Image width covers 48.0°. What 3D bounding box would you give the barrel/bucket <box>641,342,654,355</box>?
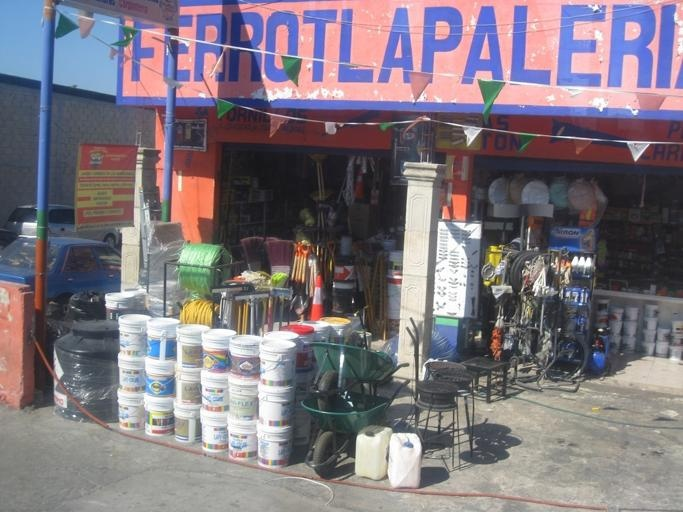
[{"bbox_3d":[5.872,1.784,14.785,0.213,0.233,0.208,1,0,0],"label":"barrel/bucket"}]

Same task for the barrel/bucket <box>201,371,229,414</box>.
[{"bbox_3d":[-1.740,1.898,10.655,0.462,0.510,0.509,2,-2,5],"label":"barrel/bucket"}]

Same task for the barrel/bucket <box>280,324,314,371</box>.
[{"bbox_3d":[-0.615,1.338,10.947,0.461,0.539,0.472,0,6,0],"label":"barrel/bucket"}]

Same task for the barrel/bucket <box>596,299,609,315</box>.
[{"bbox_3d":[4.894,0.972,14.530,0.199,0.241,0.230,1,-2,5],"label":"barrel/bucket"}]

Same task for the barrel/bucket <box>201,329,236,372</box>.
[{"bbox_3d":[-1.732,1.322,10.645,0.463,0.520,0.476,1,5,0],"label":"barrel/bucket"}]

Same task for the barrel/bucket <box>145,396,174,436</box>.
[{"bbox_3d":[-2.617,2.263,11.033,0.497,0.518,0.496,1,-1,0],"label":"barrel/bucket"}]

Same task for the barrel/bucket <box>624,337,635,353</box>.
[{"bbox_3d":[5.520,1.725,14.782,0.247,0.292,0.261,-1,0,0],"label":"barrel/bucket"}]

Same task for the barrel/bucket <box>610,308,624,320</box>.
[{"bbox_3d":[5.272,1.120,14.747,0.200,0.204,0.202,3,1,0],"label":"barrel/bucket"}]

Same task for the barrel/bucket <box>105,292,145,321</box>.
[{"bbox_3d":[-3.405,0.756,12.077,0.481,0.358,0.478,0,0,0],"label":"barrel/bucket"}]

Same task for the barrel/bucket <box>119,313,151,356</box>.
[{"bbox_3d":[-2.961,1.114,10.998,0.490,0.581,0.508,2,5,0],"label":"barrel/bucket"}]

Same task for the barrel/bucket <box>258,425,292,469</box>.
[{"bbox_3d":[-0.913,2.531,10.458,0.527,0.580,0.541,2,7,0],"label":"barrel/bucket"}]

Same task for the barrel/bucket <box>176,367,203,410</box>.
[{"bbox_3d":[-2.196,1.838,10.868,0.475,0.509,0.458,4,-4,0],"label":"barrel/bucket"}]

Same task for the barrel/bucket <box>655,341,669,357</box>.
[{"bbox_3d":[6.097,1.784,14.681,0.243,0.291,0.257,1,-2,0],"label":"barrel/bucket"}]

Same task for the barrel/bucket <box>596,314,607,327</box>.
[{"bbox_3d":[4.848,1.238,14.438,0.187,0.238,0.198,1,-3,0],"label":"barrel/bucket"}]

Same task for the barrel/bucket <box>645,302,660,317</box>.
[{"bbox_3d":[5.914,1.050,14.705,0.237,0.195,0.198,2,1,0],"label":"barrel/bucket"}]

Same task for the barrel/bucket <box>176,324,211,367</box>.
[{"bbox_3d":[-2.108,1.279,10.843,0.493,0.555,0.499,3,8,0],"label":"barrel/bucket"}]

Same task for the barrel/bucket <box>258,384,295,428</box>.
[{"bbox_3d":[-0.902,1.970,10.459,0.567,0.596,0.604,3,9,0],"label":"barrel/bucket"}]

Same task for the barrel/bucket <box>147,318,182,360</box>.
[{"bbox_3d":[-2.569,1.158,11.004,0.488,0.549,0.499,6,15,-2],"label":"barrel/bucket"}]

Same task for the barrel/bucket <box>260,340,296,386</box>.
[{"bbox_3d":[-0.838,1.431,10.200,0.486,0.528,0.525,1,5,0],"label":"barrel/bucket"}]

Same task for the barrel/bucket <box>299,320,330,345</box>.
[{"bbox_3d":[-0.356,1.126,11.419,0.274,0.317,0.286,2,1,0],"label":"barrel/bucket"}]

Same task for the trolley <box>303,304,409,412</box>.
[{"bbox_3d":[0.217,1.555,10.732,0.683,0.574,1.485,6,-6,30],"label":"trolley"}]

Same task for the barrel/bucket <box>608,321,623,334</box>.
[{"bbox_3d":[5.253,1.373,14.799,0.229,0.270,0.241,1,1,0],"label":"barrel/bucket"}]

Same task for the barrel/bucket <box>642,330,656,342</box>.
[{"bbox_3d":[5.879,1.539,14.761,0.197,0.207,0.207,1,-2,0],"label":"barrel/bucket"}]

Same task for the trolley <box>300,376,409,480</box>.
[{"bbox_3d":[0.143,2.377,10.515,0.754,0.776,1.562,-1,0,31],"label":"trolley"}]

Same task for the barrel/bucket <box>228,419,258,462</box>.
[{"bbox_3d":[-1.353,2.493,10.561,0.509,0.527,0.503,2,3,0],"label":"barrel/bucket"}]

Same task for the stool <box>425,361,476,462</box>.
[{"bbox_3d":[1.627,2.253,11.192,0.701,1.260,0.669,1,1,-4],"label":"stool"}]

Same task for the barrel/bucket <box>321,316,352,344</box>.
[{"bbox_3d":[-0.061,1.137,11.775,0.332,0.377,0.337,2,6,0],"label":"barrel/bucket"}]

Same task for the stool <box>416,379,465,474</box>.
[{"bbox_3d":[1.336,2.328,10.632,0.658,1.199,0.659,1,1,-5],"label":"stool"}]

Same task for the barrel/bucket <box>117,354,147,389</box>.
[{"bbox_3d":[-3.029,1.707,11.121,0.436,0.482,0.450,3,-1,0],"label":"barrel/bucket"}]

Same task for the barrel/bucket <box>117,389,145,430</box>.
[{"bbox_3d":[-3.018,2.217,11.125,0.467,0.525,0.488,0,-1,0],"label":"barrel/bucket"}]

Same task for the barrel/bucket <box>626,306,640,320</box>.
[{"bbox_3d":[5.549,1.100,14.754,0.219,0.263,0.231,0,0,0],"label":"barrel/bucket"}]

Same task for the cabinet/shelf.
[{"bbox_3d":[-2.034,-1.068,18.236,1.428,3.152,1.347,5,10,28],"label":"cabinet/shelf"}]

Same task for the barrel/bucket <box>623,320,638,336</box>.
[{"bbox_3d":[5.538,1.398,14.826,0.264,0.313,0.280,0,-1,0],"label":"barrel/bucket"}]

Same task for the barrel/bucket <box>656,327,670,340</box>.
[{"bbox_3d":[6.110,1.493,14.669,0.201,0.239,0.211,1,-2,0],"label":"barrel/bucket"}]

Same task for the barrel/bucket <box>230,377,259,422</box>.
[{"bbox_3d":[-1.341,1.916,10.359,0.490,0.540,0.516,1,0,0],"label":"barrel/bucket"}]

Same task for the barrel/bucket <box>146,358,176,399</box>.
[{"bbox_3d":[-2.575,1.767,10.983,0.436,0.482,0.447,0,2,0],"label":"barrel/bucket"}]

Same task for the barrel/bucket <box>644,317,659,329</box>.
[{"bbox_3d":[5.916,1.292,14.734,0.192,0.201,0.202,1,-3,0],"label":"barrel/bucket"}]

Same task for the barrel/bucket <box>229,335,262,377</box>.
[{"bbox_3d":[-1.315,1.331,10.528,0.513,0.566,0.554,1,18,0],"label":"barrel/bucket"}]

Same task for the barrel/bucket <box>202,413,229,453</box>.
[{"bbox_3d":[-1.663,2.419,10.602,0.455,0.521,0.479,0,0,0],"label":"barrel/bucket"}]

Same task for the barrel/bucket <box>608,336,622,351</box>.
[{"bbox_3d":[5.263,1.683,14.911,0.272,0.338,0.288,0,2,0],"label":"barrel/bucket"}]

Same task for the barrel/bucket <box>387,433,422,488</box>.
[{"bbox_3d":[0.828,2.653,10.075,0.348,0.715,0.421,1,12,-6],"label":"barrel/bucket"}]
